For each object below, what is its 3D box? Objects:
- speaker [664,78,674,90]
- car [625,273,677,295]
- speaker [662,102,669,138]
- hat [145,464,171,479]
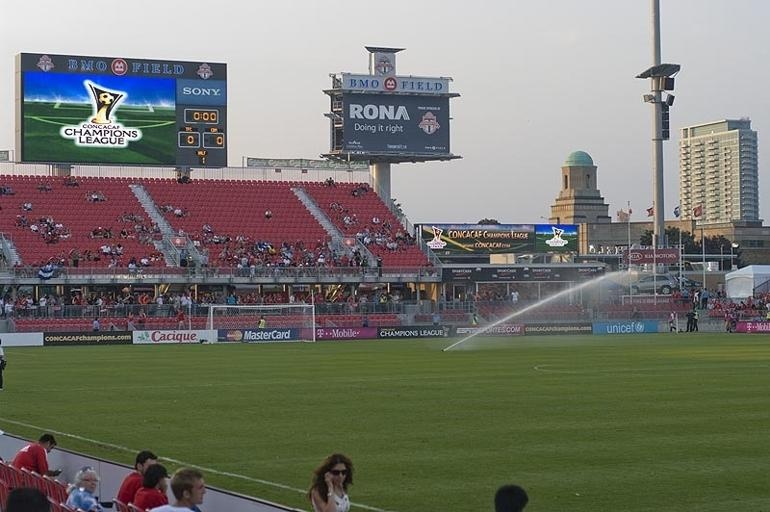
[{"bbox_3d":[23.112,-13.903,152.037,0.701,0.973,2.116,1,10,5],"label":"speaker"},{"bbox_3d":[22.406,2.579,157.628,4.388,1.431,1.887,1,0,18],"label":"car"},{"bbox_3d":[23.011,-10.987,153.499,0.532,2.931,0.670,0,11,0],"label":"speaker"},{"bbox_3d":[-11.838,11.299,97.225,0.987,0.771,0.753,-5,9,-24],"label":"hat"}]
